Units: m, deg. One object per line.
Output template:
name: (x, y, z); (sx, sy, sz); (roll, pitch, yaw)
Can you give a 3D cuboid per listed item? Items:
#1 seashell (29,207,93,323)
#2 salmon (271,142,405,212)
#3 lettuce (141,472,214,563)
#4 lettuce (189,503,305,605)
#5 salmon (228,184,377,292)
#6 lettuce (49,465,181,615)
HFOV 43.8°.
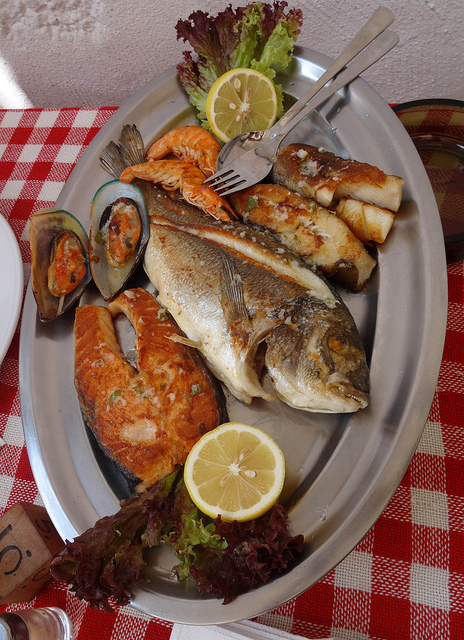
seashell: (-0.584, -0.175, 1.969); (0.263, 0.270, 0.300); (14, 42, 6)
salmon: (0.321, -0.403, 1.768); (0.366, 0.108, 0.177); (35, 92, 35)
lettuce: (-0.161, 0.522, 1.536); (0.148, 0.069, 0.214); (-40, 46, 11)
lettuce: (0.015, 0.585, 1.468); (0.308, 0.107, 0.198); (-35, 78, -4)
salmon: (0.225, -0.234, 1.710); (0.254, 0.165, 0.368); (24, 39, 33)
lettuce: (-0.246, 0.582, 1.526); (0.394, 0.158, 0.227); (-39, 78, -5)
